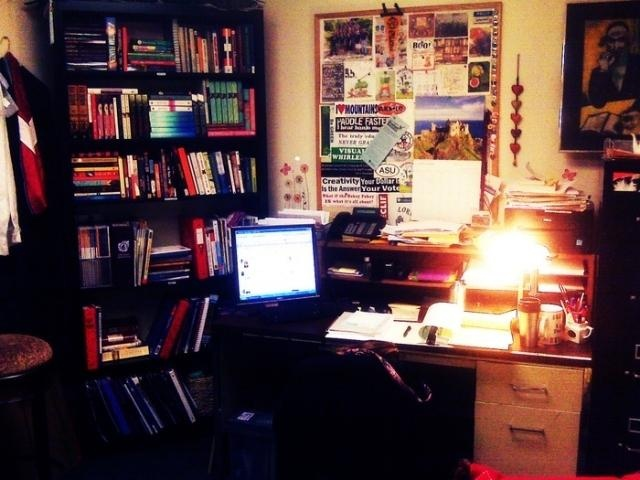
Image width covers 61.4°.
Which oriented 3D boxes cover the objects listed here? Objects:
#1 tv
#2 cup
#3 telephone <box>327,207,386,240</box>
[{"bbox_3d":[-0.264,0.160,3.165,0.482,0.420,0.049,-4,-2,-10],"label":"tv"},{"bbox_3d":[1.159,0.387,2.684,0.366,0.173,0.209,-10,11,-44],"label":"cup"},{"bbox_3d":[0.231,-0.104,3.550,0.378,0.179,0.264,-1,12,5],"label":"telephone"}]
